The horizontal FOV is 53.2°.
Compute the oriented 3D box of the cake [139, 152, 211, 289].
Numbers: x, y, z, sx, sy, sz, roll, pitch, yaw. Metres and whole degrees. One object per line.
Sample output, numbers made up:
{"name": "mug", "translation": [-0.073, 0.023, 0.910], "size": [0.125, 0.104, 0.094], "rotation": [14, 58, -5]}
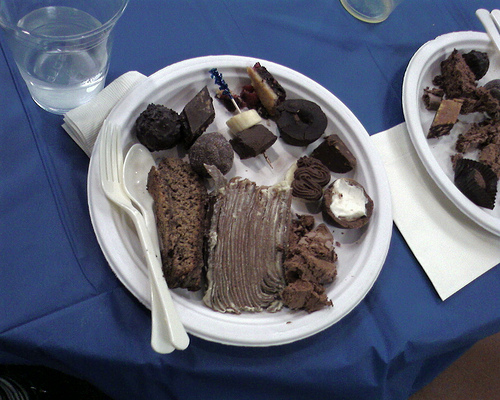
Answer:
{"name": "cake", "translation": [-0.423, 0.084, 2.740], "size": [0.337, 0.183, 0.711], "rotation": [-11, 78, -28]}

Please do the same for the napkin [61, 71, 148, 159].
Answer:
{"name": "napkin", "translation": [-0.784, -0.511, 2.684], "size": [0.305, 0.420, 0.425], "rotation": [13, 35, 17]}
